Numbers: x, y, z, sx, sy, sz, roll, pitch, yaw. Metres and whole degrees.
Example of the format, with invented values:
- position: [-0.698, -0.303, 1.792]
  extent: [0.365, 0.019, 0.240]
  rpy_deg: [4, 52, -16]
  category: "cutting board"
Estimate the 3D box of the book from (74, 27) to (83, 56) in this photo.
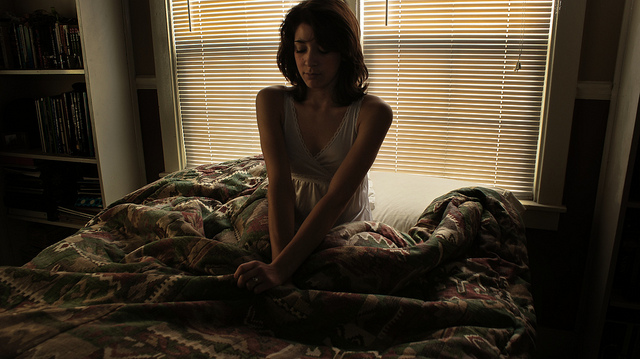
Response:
- position: [-1.803, -1.032, 3.429]
  extent: [0.096, 0.203, 0.034]
  rpy_deg: [12, 12, 41]
  category: "book"

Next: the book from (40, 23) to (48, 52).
- position: [-2.100, -1.077, 3.488]
  extent: [0.048, 0.205, 0.011]
  rpy_deg: [4, 9, -2]
  category: "book"

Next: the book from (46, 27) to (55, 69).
- position: [-2.050, -1.010, 3.500]
  extent: [0.024, 0.265, 0.030]
  rpy_deg: [-8, 12, -1]
  category: "book"

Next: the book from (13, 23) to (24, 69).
- position: [-2.322, -1.016, 3.526]
  extent: [0.042, 0.318, 0.037]
  rpy_deg: [-8, 14, -8]
  category: "book"

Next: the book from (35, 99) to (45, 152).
- position: [-2.204, -0.410, 3.624]
  extent: [0.045, 0.314, 0.017]
  rpy_deg: [2, 13, 9]
  category: "book"

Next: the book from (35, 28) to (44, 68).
- position: [-2.149, -1.006, 3.508]
  extent: [0.042, 0.257, 0.040]
  rpy_deg: [-5, 12, -4]
  category: "book"

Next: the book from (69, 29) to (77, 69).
- position: [-1.867, -0.983, 3.467]
  extent: [0.033, 0.230, 0.033]
  rpy_deg: [5, 18, 31]
  category: "book"

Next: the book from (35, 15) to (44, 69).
- position: [-2.119, -1.045, 3.508]
  extent: [0.044, 0.342, 0.053]
  rpy_deg: [0, 12, 9]
  category: "book"

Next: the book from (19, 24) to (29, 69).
- position: [-2.272, -1.020, 3.520]
  extent: [0.042, 0.271, 0.033]
  rpy_deg: [-3, 6, 12]
  category: "book"

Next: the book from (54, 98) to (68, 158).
- position: [-2.019, -0.415, 3.572]
  extent: [0.103, 0.431, 0.010]
  rpy_deg: [7, 10, 15]
  category: "book"

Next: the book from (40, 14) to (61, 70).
- position: [-2.085, -1.066, 3.500]
  extent: [0.132, 0.469, 0.041]
  rpy_deg: [-4, -15, -18]
  category: "book"

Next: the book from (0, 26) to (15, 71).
- position: [-2.422, -1.025, 3.572]
  extent: [0.099, 0.320, 0.045]
  rpy_deg: [7, 10, 14]
  category: "book"

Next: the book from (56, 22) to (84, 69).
- position: [-1.902, -1.012, 3.484]
  extent: [0.208, 0.329, 0.033]
  rpy_deg: [2, 14, 6]
  category: "book"

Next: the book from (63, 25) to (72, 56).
- position: [-1.907, -1.054, 3.459]
  extent: [0.067, 0.213, 0.010]
  rpy_deg: [6, 9, 8]
  category: "book"

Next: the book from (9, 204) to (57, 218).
- position: [-2.296, 0.257, 3.675]
  extent: [0.200, 0.041, 0.177]
  rpy_deg: [4, 7, 13]
  category: "book"
